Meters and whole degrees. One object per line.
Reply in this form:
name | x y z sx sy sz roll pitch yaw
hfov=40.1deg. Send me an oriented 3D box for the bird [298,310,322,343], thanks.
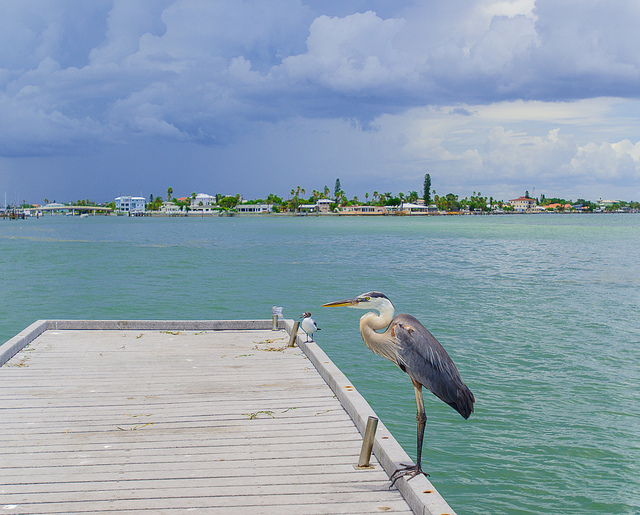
bird | -0.146 1.450 19.409 0.342 0.550 0.689 -3 -11 17
